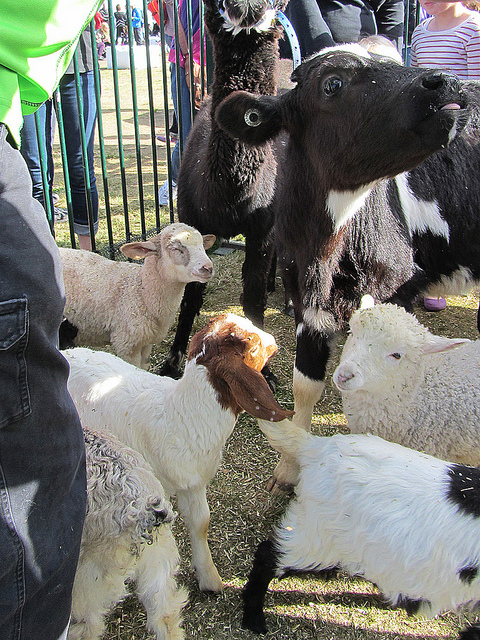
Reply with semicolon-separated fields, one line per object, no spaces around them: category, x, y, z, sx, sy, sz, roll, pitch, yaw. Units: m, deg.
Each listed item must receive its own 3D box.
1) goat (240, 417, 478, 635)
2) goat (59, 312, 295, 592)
goat;0.344;0.754;2.109;0.929;0.726;0.932;2;18;6
goat;-0.110;0.306;2.389;1.209;0.966;0.989;9;28;13
